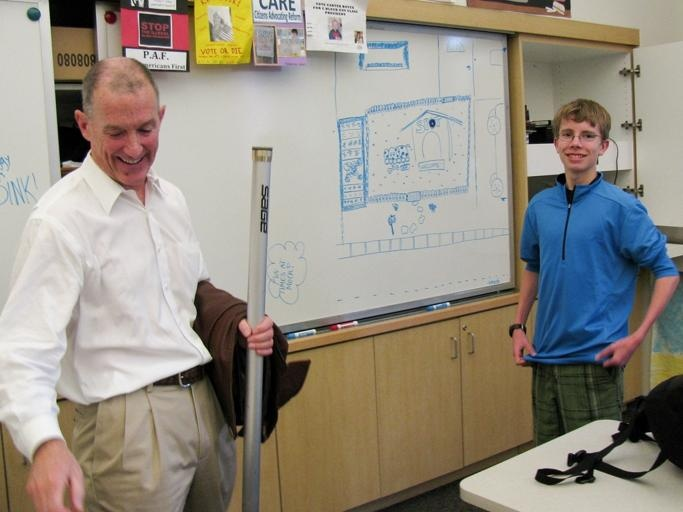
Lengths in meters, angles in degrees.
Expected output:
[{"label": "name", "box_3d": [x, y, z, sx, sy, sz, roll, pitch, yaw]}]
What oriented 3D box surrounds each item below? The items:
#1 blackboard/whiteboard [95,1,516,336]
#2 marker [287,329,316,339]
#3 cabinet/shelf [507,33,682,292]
[{"label": "blackboard/whiteboard", "box_3d": [-0.175, -0.414, 2.594, 1.607, 1.204, 0.037, -8, 10, -30]}, {"label": "marker", "box_3d": [-0.184, 0.376, 2.800, 0.170, 0.022, 0.055, -5, 10, -33]}, {"label": "cabinet/shelf", "box_3d": [1.311, -0.658, 3.515, 0.731, 1.341, 0.408, 6, 1, 7]}]
